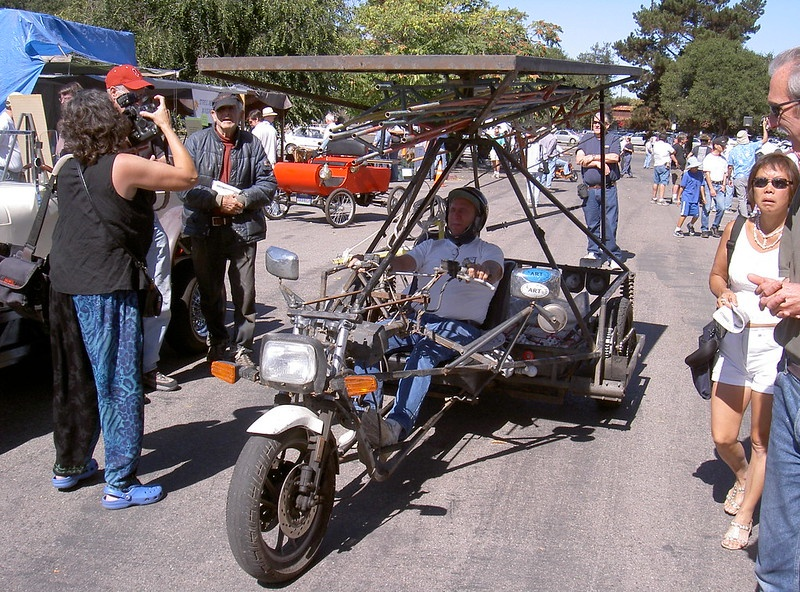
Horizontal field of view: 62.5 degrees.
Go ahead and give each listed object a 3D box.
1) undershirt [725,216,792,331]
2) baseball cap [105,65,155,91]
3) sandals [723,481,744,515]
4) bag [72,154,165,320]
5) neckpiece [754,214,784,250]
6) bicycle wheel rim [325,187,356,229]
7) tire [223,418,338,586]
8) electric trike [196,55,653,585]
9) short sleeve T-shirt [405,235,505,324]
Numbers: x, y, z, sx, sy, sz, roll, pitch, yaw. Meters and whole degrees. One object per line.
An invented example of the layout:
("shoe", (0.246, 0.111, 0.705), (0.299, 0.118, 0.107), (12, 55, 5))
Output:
("undershirt", (2.197, -0.109, 3.810), (0.349, 0.576, 0.607), (-5, 0, 21))
("baseball cap", (-1.782, -1.425, 4.302), (0.288, 0.161, 0.201), (-4, 21, 0))
("sandals", (2.145, 1.284, 4.229), (0.083, 0.099, 0.244), (-6, 19, 38))
("bag", (-1.734, -0.311, 4.164), (0.442, 0.819, 0.296), (-17, 0, 8))
("neckpiece", (2.121, -0.378, 3.790), (0.052, 0.248, 0.179), (-12, 19, -40))
("bicycle wheel rim", (-1.284, -1.907, 14.109), (0.747, 0.834, 0.165), (-19, 17, -34))
("tire", (-0.623, 1.113, 3.522), (0.267, 0.853, 0.631), (13, 18, 33))
("electric trike", (-0.081, -0.344, 4.947), (2.356, 2.790, 4.188), (8, 18, 31))
("short sleeve T-shirt", (0.399, -0.160, 5.254), (1.060, 0.573, 0.968), (6, 12, 14))
